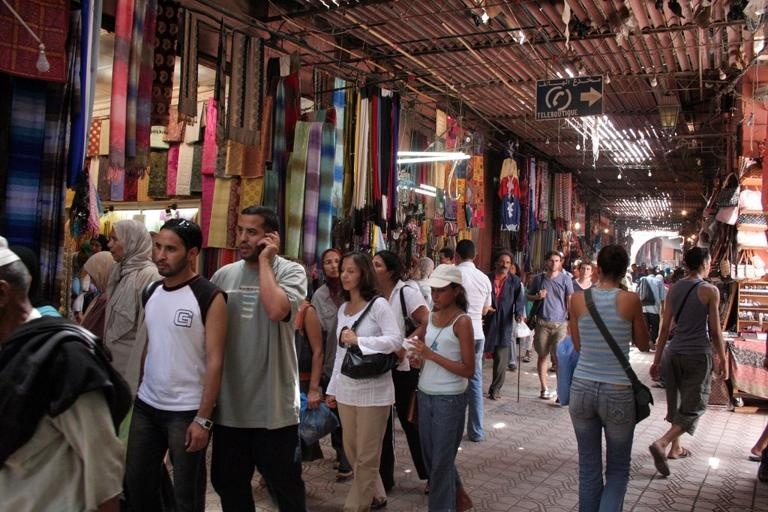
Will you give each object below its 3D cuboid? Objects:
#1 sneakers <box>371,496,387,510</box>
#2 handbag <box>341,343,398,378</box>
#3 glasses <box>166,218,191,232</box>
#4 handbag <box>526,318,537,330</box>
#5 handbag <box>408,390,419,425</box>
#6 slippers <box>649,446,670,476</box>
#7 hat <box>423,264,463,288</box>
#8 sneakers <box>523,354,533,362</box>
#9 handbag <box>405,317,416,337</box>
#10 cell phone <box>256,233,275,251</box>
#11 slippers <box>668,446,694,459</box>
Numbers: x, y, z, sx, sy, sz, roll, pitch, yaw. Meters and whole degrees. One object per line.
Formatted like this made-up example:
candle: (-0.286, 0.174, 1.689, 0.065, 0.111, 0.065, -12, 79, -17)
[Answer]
sneakers: (-0.045, 2.009, 4.650, 0.059, 0.078, 0.185, -2, -22, 16)
handbag: (-0.119, 0.786, 4.163, 0.386, 0.302, 0.221, 1, -38, -2)
glasses: (-1.307, -0.192, 3.620, 0.102, 0.044, 0.088, 2, -7, 38)
handbag: (2.047, 0.963, 8.024, 0.111, 0.127, 0.140, 7, 9, 23)
handbag: (0.224, 1.219, 4.654, 0.073, 0.286, 0.256, 2, 3, 2)
slippers: (2.601, 1.951, 5.443, 0.111, 0.289, 0.099, -30, 10, -34)
hat: (0.464, 0.151, 4.246, 0.213, 0.118, 0.153, 7, -11, -44)
sneakers: (2.783, 1.997, 11.174, 0.087, 0.123, 0.279, 3, 0, 20)
handbag: (0.217, 0.605, 4.865, 0.114, 0.161, 0.046, 4, 3, 34)
cell phone: (-0.757, -0.095, 3.704, 0.113, 0.092, 0.041, -18, -15, 1)
slippers: (3.051, 2.022, 5.939, 0.231, 0.066, 0.128, -7, 4, -35)
